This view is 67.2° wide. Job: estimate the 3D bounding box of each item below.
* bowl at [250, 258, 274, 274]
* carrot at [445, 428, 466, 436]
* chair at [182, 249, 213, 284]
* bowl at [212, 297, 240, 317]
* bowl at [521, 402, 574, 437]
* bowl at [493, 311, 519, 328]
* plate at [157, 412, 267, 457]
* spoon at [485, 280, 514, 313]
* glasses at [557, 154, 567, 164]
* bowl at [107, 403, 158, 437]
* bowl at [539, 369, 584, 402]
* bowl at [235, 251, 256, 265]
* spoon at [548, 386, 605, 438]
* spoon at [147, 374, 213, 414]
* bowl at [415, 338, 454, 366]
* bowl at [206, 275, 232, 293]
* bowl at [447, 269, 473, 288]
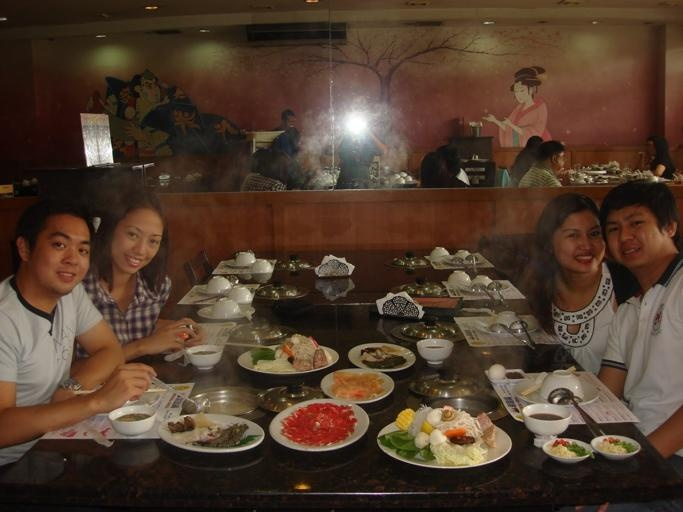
[{"bbox_3d":[-0.365,0.047,2.359,0.072,0.044,0.072,-1,9,0],"label":"bowl"},{"bbox_3d":[0.220,0.342,0.999,0.049,0.012,0.012,-2,19,-3],"label":"carrot"},{"bbox_3d":[-0.742,0.046,2.670,0.133,0.198,0.120,8,37,7],"label":"chair"},{"bbox_3d":[-0.392,0.172,1.738,0.072,0.044,0.066,1,3,0],"label":"bowl"},{"bbox_3d":[0.428,0.348,1.074,0.093,0.042,0.087,-4,4,0],"label":"bowl"},{"bbox_3d":[0.511,0.198,1.599,0.052,0.026,0.047,-6,4,0],"label":"bowl"},{"bbox_3d":[-0.276,0.371,1.077,0.129,0.016,0.098,6,14,-1],"label":"plate"},{"bbox_3d":[0.575,0.154,1.885,0.062,0.027,0.190,1,16,4],"label":"spoon"},{"bbox_3d":[1.055,-0.460,2.456,0.046,0.040,0.019,-10,-12,-15],"label":"glasses"},{"bbox_3d":[-0.447,0.359,1.105,0.083,0.034,0.087,3,6,0],"label":"bowl"},{"bbox_3d":[0.510,0.297,1.195,0.076,0.042,0.075,-2,10,0],"label":"bowl"},{"bbox_3d":[-0.468,0.014,2.518,0.082,0.049,0.076,1,4,0],"label":"bowl"},{"bbox_3d":[0.516,0.339,1.121,0.037,0.018,0.135,-3,23,-5],"label":"spoon"},{"bbox_3d":[-0.391,0.333,1.247,0.179,0.037,0.062,12,22,34],"label":"spoon"},{"bbox_3d":[0.252,0.259,1.393,0.080,0.038,0.073,0,-3,0],"label":"bowl"},{"bbox_3d":[-0.484,0.110,2.037,0.077,0.043,0.070,1,4,0],"label":"bowl"},{"bbox_3d":[0.480,0.092,2.094,0.078,0.065,0.071,1,-2,0],"label":"bowl"}]
